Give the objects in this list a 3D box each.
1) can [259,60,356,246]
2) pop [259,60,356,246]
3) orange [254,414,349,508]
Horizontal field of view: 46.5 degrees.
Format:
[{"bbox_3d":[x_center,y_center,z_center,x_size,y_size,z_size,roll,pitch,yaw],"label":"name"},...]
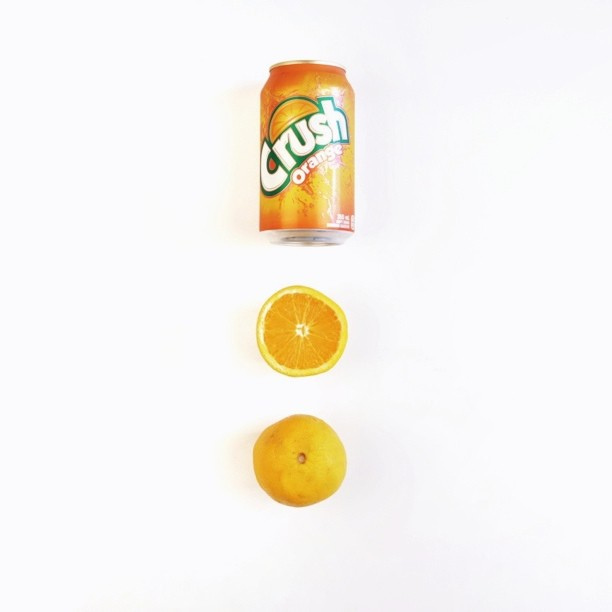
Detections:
[{"bbox_3d":[0.005,-0.233,1.169,0.134,0.301,0.147,-1,-10,0],"label":"can"},{"bbox_3d":[0.008,-0.232,1.169,0.139,0.304,0.145,6,-12,-27],"label":"pop"},{"bbox_3d":[-0.011,0.249,1.139,0.135,0.145,0.082,-24,-21,-14],"label":"orange"}]
